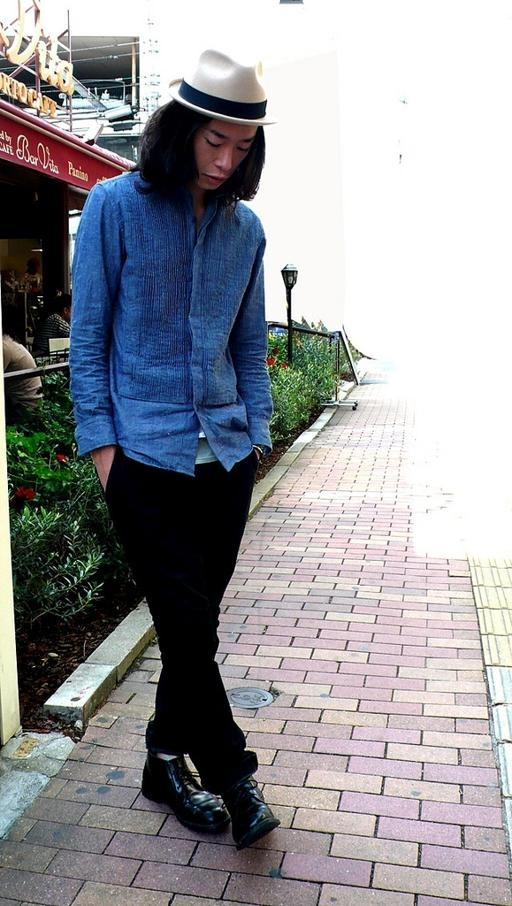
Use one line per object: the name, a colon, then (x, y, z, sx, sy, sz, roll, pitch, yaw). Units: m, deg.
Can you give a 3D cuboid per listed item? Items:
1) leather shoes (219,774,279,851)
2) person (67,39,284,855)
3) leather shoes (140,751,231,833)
leather shoes: (-0.020, 0.828, 1.434, 0.078, 0.104, 0.233, -23, -15, -12)
person: (-0.157, 0.112, 1.414, 0.420, 1.720, 0.502, 1, 3, 7)
leather shoes: (-0.191, 0.884, 1.662, 0.107, 0.140, 0.300, 0, -8, -30)
